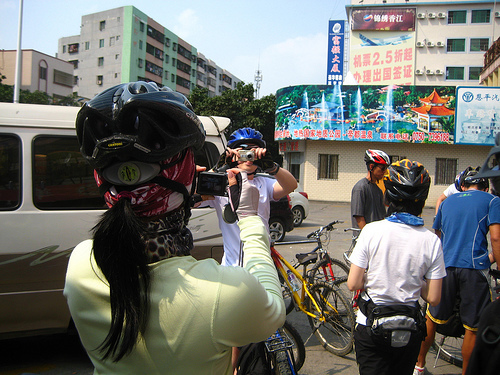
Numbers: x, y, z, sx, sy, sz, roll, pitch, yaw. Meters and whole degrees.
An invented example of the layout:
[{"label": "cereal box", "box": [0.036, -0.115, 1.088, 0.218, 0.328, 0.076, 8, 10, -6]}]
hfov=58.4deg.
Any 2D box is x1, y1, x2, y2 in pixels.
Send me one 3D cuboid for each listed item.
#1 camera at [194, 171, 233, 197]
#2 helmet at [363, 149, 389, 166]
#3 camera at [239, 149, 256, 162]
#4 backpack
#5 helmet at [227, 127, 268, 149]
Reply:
[{"label": "camera", "box": [-0.195, -0.017, 2.241, 0.180, 0.147, 0.105, 1, -6, -3]}, {"label": "helmet", "box": [1.502, -0.353, 5.330, 0.182, 0.140, 0.256, 13, -8, -39]}, {"label": "camera", "box": [-0.023, -0.212, 3.023, 0.090, 0.070, 0.068, 0, 6, -5]}, {"label": "backpack", "box": [1.107, 0.995, 3.372, 0.352, 0.281, 0.500, -4, -6, 21]}, {"label": "helmet", "box": [-0.040, -0.375, 3.461, 0.165, 0.172, 0.234, 1, 5, -23]}]
